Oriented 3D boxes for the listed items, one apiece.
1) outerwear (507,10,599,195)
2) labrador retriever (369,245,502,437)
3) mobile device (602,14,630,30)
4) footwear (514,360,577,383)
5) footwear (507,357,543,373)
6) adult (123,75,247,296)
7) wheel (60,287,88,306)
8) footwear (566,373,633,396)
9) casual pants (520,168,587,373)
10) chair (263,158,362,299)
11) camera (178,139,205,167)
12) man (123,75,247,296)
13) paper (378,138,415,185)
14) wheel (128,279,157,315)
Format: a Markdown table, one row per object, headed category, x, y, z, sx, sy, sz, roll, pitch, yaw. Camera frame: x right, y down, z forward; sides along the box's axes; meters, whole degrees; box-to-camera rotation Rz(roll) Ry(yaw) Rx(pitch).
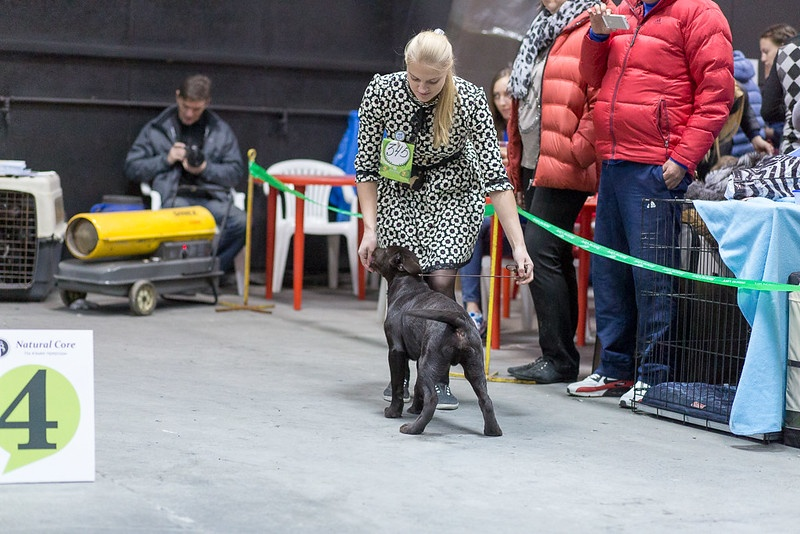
| category | x | y | z | sx | sy | sz | roll | pitch | yaw |
| --- | --- | --- | --- | --- | --- | --- | --- | --- | --- |
| outerwear | 0.898 | -0.957 | 5.886 | 0.395 | 0.984 | 0.778 | -6 | 10 | -35 |
| labrador retriever | 0.111 | 0.351 | 4.940 | 0.659 | 0.881 | 0.329 | 3 | 5 | 36 |
| mobile device | 1.074 | -1.232 | 5.246 | 0.118 | 0.072 | 0.086 | 2 | 4 | 30 |
| footwear | 0.800 | 0.598 | 5.830 | 0.227 | 0.081 | 0.168 | 3 | -4 | -4 |
| footwear | 0.727 | 0.563 | 5.917 | 0.233 | 0.081 | 0.076 | 4 | -3 | -7 |
| adult | -1.608 | -0.696 | 7.854 | 0.878 | 1.466 | 0.451 | 0 | 4 | -8 |
| wheel | -2.251 | 0.215 | 7.212 | 0.158 | 0.125 | 0.167 | 0 | 3 | 0 |
| footwear | 1.068 | 0.648 | 5.723 | 0.376 | 0.156 | 0.138 | 3 | -3 | -14 |
| casual pants | 0.880 | -0.064 | 5.923 | 0.362 | 1.355 | 0.396 | 4 | -7 | 17 |
| chair | -0.609 | -0.328 | 8.464 | 0.825 | 1.055 | 0.695 | -1 | -7 | -3 |
| camera | -1.537 | -0.847 | 7.833 | 0.124 | 0.160 | 0.282 | 1 | 24 | -25 |
| man | -1.599 | -0.695 | 7.854 | 0.866 | 1.466 | 0.475 | 0 | 4 | -11 |
| paper | -0.013 | -0.517 | 5.065 | 0.204 | 0.203 | 0.032 | 13 | 13 | 14 |
| wheel | -1.738 | 0.206 | 7.041 | 0.091 | 0.262 | 0.245 | -4 | 1 | 34 |
